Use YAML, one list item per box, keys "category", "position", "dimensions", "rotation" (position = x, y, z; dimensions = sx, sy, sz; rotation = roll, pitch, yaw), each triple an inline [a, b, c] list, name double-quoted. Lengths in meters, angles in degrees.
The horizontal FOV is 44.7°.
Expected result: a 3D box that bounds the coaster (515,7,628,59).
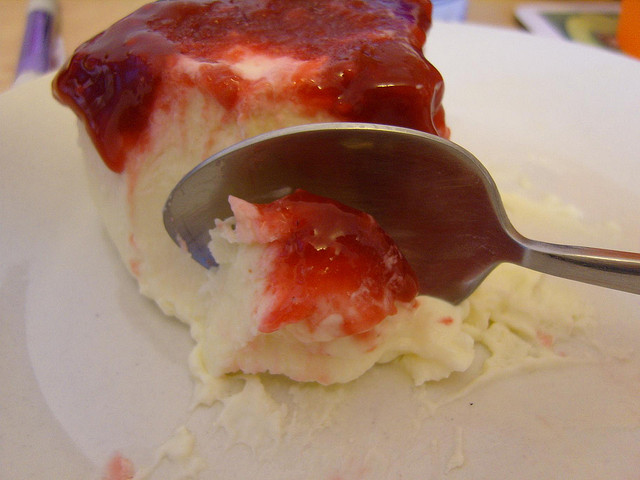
- category: "coaster"
  position: [0.909, -0.769, 2.820]
  dimensions: [0.320, 0.038, 0.352]
  rotation: [-1, 41, -8]
